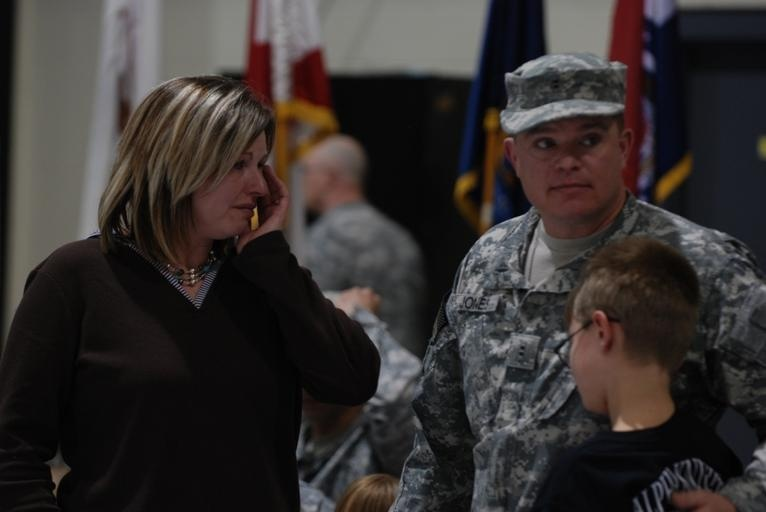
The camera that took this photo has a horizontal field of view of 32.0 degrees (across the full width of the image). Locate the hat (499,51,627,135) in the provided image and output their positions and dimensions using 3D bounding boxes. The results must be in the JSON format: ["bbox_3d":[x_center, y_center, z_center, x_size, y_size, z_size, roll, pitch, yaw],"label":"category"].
[{"bbox_3d":[0.690,-0.630,5.126,0.326,0.192,0.420,-8,-7,30],"label":"hat"}]

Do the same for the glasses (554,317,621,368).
[{"bbox_3d":[0.722,0.329,5.019,0.199,0.060,0.201,-34,6,-7],"label":"glasses"}]

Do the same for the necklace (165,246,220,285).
[{"bbox_3d":[-0.741,0.037,5.111,0.143,0.036,0.109,28,52,20],"label":"necklace"}]
